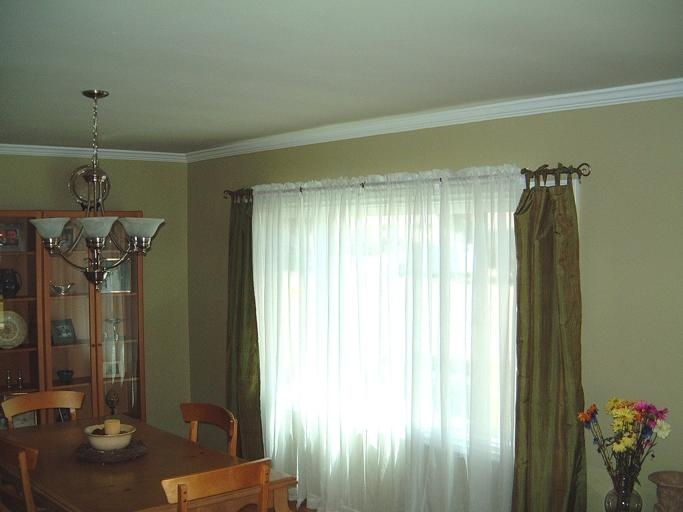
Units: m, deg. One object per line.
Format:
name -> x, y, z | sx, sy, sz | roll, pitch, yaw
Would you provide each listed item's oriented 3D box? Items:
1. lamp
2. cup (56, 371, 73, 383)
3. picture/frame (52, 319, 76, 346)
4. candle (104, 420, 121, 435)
lamp -> -1.597, -0.464, 4.171 | 0.779, 1.248, 0.784 | -1, -2, -4
cup -> -2.464, 1.062, 5.721 | 0.099, 0.068, 0.106 | 0, -9, 0
picture/frame -> -2.422, 0.666, 5.621 | 0.200, 0.203, 0.048 | -2, -1, -41
candle -> -1.481, 1.089, 4.149 | 0.087, 0.075, 0.092 | 3, -4, -5
